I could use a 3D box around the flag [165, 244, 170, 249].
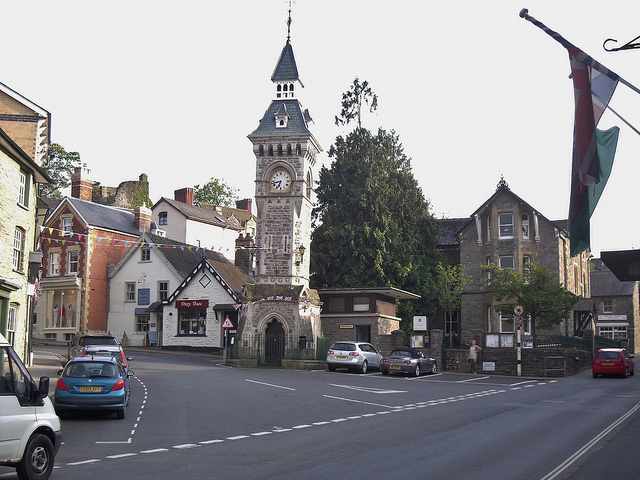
[{"bbox_3d":[-11.274,0.439,60.072,0.296,0.283,0.079,1,8,7],"label":"flag"}]

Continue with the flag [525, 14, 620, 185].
[{"bbox_3d":[5.810,-3.709,18.151,0.617,1.836,5.868,40,-6,38],"label":"flag"}]

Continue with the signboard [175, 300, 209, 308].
[{"bbox_3d":[-9.093,4.468,57.498,2.867,0.637,0.155,-5,-10,25],"label":"signboard"}]

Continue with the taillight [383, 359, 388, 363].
[{"bbox_3d":[3.313,6.148,41.515,0.317,0.163,0.122,-9,-13,42],"label":"taillight"}]

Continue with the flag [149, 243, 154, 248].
[{"bbox_3d":[-12.741,0.366,61.465,0.305,0.323,0.176,-1,-10,4],"label":"flag"}]

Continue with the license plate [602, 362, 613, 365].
[{"bbox_3d":[14.742,6.316,41.777,0.457,0.097,0.032,-3,-10,20],"label":"license plate"}]

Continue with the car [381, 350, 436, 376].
[{"bbox_3d":[4.712,6.274,41.876,2.936,1.267,1.352,7,-12,-34],"label":"car"}]

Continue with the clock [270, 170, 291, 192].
[{"bbox_3d":[-2.327,-3.513,48.870,1.151,1.236,0.090,5,-10,16],"label":"clock"}]

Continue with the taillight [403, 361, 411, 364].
[{"bbox_3d":[4.373,6.142,40.973,0.307,0.257,0.114,0,12,8],"label":"taillight"}]

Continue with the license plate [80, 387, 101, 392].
[{"bbox_3d":[-6.480,4.215,22.981,0.573,0.125,0.101,3,-10,-12],"label":"license plate"}]

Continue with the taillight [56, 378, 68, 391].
[{"bbox_3d":[-7.320,4.090,23.025,0.427,0.312,0.165,-8,-12,39],"label":"taillight"}]

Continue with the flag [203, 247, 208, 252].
[{"bbox_3d":[-8.430,0.678,59.844,0.091,0.324,0.337,17,-23,-24],"label":"flag"}]

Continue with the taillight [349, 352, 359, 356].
[{"bbox_3d":[1.764,5.924,42.412,0.505,0.166,0.110,-1,-10,10],"label":"taillight"}]

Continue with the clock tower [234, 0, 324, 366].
[{"bbox_3d":[-2.257,-2.400,48.797,4.343,19.678,4.171,1,-9,-3],"label":"clock tower"}]

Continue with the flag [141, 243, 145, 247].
[{"bbox_3d":[-13.464,0.332,61.909,0.322,0.318,0.090,3,1,25],"label":"flag"}]

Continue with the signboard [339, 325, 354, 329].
[{"bbox_3d":[1.686,5.499,51.787,0.617,0.219,0.026,-1,-6,27],"label":"signboard"}]

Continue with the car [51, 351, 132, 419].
[{"bbox_3d":[-6.536,4.232,24.228,1.430,1.115,2.641,2,-1,-6],"label":"car"}]

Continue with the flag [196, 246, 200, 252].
[{"bbox_3d":[-9.461,0.672,63.115,0.286,0.415,0.121,6,6,35],"label":"flag"}]

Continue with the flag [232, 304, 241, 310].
[{"bbox_3d":[-5.360,4.259,52.586,0.717,0.316,0.682,-7,-3,38],"label":"flag"}]

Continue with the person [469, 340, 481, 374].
[{"bbox_3d":[8.405,6.326,44.235,0.570,1.849,1.381,-2,-10,15],"label":"person"}]

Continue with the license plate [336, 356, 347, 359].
[{"bbox_3d":[1.118,6.142,42.685,0.658,0.138,0.071,-8,-12,38],"label":"license plate"}]

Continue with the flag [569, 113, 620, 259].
[{"bbox_3d":[6.193,-1.111,18.574,1.035,3.613,0.235,6,35,24],"label":"flag"}]
